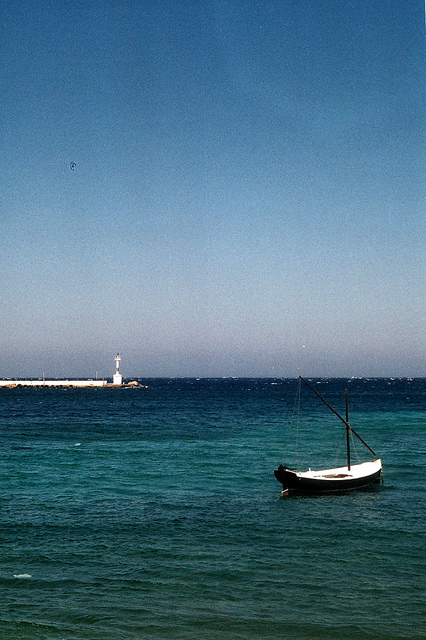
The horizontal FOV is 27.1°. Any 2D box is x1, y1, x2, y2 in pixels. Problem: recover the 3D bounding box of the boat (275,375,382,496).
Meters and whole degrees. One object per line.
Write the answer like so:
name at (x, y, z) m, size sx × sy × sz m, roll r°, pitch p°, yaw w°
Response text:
boat at (7.471, 7.130, 55.077) m, size 7.144 × 7.108 × 2.186 m, roll 1°, pitch -3°, yaw -24°
